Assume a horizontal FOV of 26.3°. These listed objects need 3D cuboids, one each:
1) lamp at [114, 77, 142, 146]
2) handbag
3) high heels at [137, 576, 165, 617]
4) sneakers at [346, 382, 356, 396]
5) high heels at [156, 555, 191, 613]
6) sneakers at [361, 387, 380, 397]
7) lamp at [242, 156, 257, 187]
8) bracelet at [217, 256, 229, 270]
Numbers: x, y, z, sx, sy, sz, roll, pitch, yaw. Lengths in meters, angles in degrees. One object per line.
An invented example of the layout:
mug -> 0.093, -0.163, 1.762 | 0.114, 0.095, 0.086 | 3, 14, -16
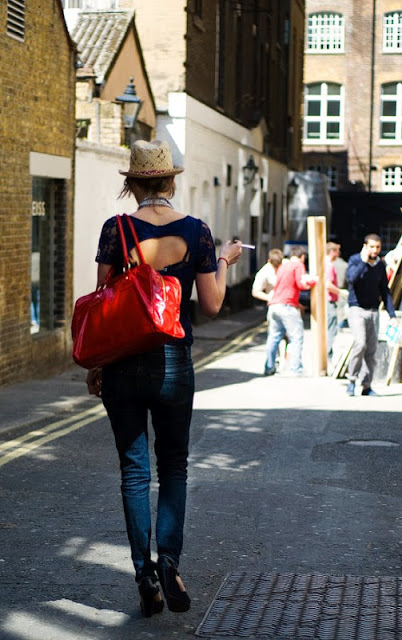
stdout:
lamp -> -1.310, -3.925, 15.468 | 0.399, 0.965, 0.419 | 23, 26, 24
handbag -> -0.235, 0.000, 3.014 | 0.278, 0.295, 0.119 | -23, -35, 24
high heels -> -0.185, 1.048, 3.164 | 0.086, 0.210, 0.060 | -6, -6, 31
sneakers -> 1.824, 0.889, 10.373 | 0.144, 0.214, 0.109 | 2, -4, 18
high heels -> -0.096, 0.973, 3.088 | 0.081, 0.247, 0.086 | -17, 3, 15
sneakers -> 2.031, 0.927, 10.406 | 0.136, 0.081, 0.111 | 10, -8, -17
lamp -> 1.505, -4.662, 26.554 | 0.439, 0.877, 0.728 | 1, 1, 2
bracelet -> 0.092, -0.228, 3.424 | 0.037, 0.055, 0.019 | -4, -13, -2
